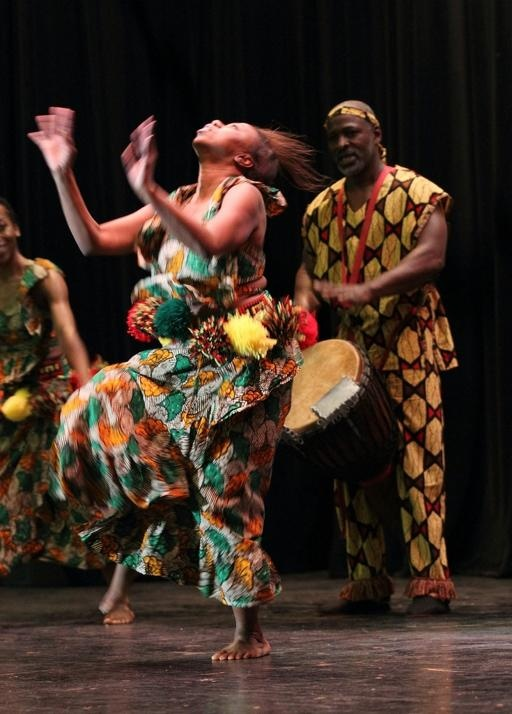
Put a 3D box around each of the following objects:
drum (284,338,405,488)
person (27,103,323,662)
[{"bbox_3d":[0.251,0.184,2.530,0.350,0.344,0.319,-18,20,39],"label":"drum"},{"bbox_3d":[-0.179,0.102,1.786,0.525,1.263,0.585,-4,10,19],"label":"person"}]
